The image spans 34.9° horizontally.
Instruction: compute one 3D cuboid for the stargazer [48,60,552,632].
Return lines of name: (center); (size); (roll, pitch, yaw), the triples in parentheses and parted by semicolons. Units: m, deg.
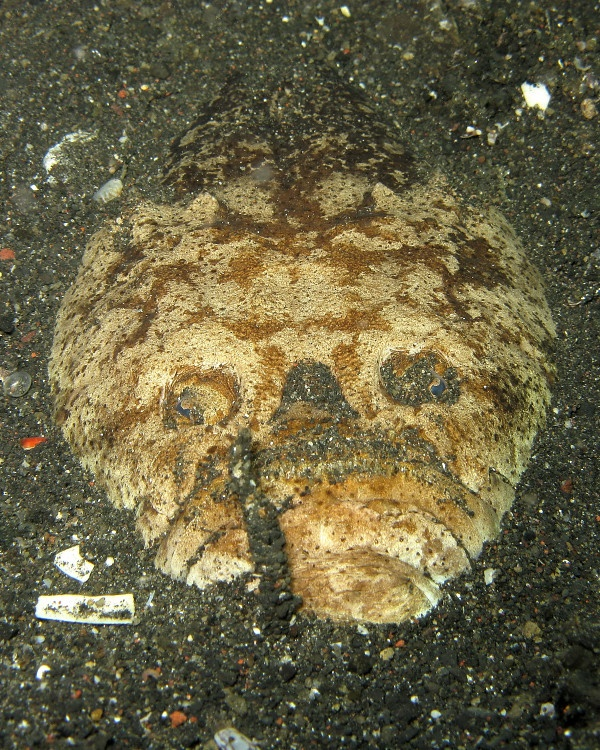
stargazer: (0.057, -0.225, 5.118); (2.791, 0.870, 3.179); (-12, 62, -10)
